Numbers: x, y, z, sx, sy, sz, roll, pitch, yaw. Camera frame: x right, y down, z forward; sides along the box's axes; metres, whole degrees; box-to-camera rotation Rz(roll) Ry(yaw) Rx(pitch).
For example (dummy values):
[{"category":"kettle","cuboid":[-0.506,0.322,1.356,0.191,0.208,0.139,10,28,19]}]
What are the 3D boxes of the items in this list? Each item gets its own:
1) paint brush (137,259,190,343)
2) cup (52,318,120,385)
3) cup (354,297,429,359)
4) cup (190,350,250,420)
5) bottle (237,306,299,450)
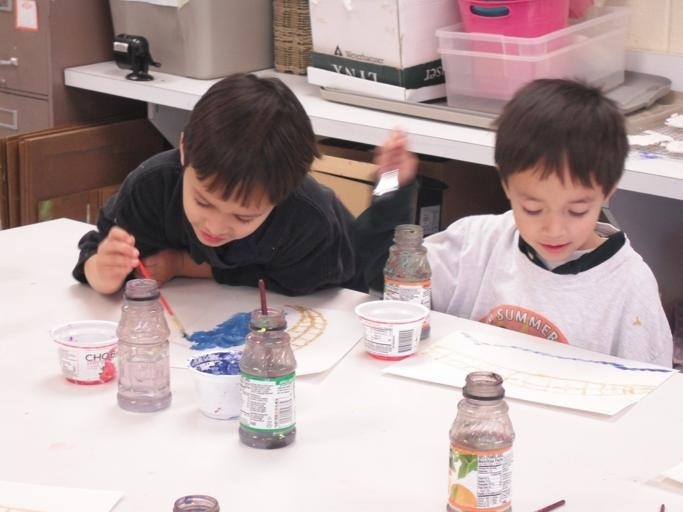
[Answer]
[{"category":"paint brush","cuboid":[-0.341,0.088,1.126,0.021,0.173,0.025,-32,5,25]},{"category":"cup","cuboid":[-0.443,0.157,1.044,0.125,0.070,0.117,1,12,0]},{"category":"cup","cuboid":[0.096,0.130,1.112,0.120,0.066,0.115,-1,17,0]},{"category":"cup","cuboid":[-0.182,0.195,0.929,0.104,0.067,0.097,0,8,0]},{"category":"bottle","cuboid":[-0.109,0.173,0.838,0.092,0.198,0.074,-5,22,-3]}]
